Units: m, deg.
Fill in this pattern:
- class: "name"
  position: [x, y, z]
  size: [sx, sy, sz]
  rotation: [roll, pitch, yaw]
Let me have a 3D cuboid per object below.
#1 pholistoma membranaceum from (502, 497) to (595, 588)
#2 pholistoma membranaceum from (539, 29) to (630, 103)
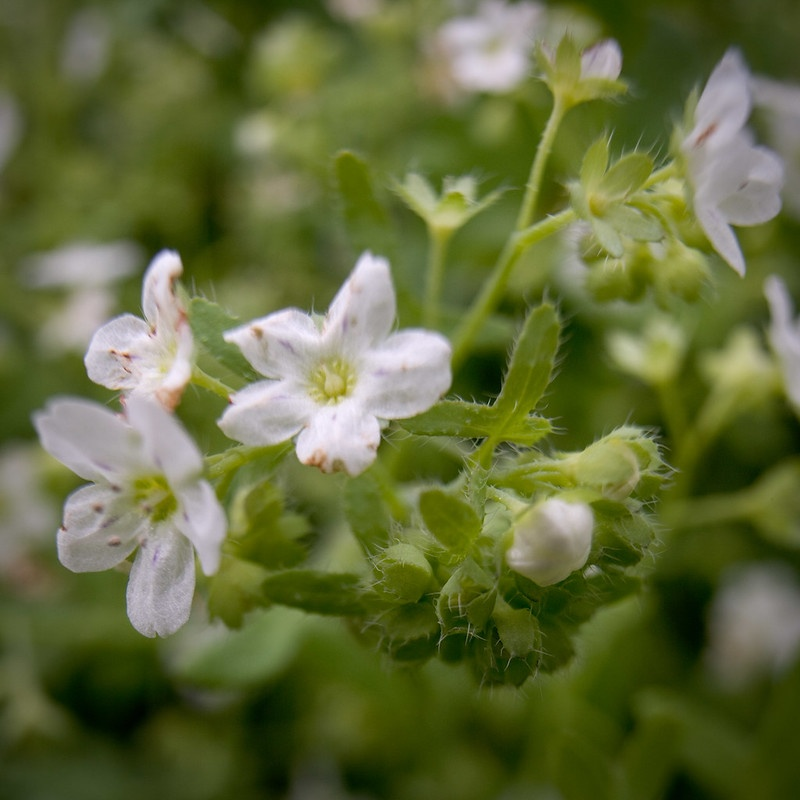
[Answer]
- class: "pholistoma membranaceum"
  position: [0.180, 0.170, 1.228]
  size: [0.061, 0.092, 0.100]
  rotation: [43, 95, 7]
- class: "pholistoma membranaceum"
  position: [0.252, -0.457, 1.417]
  size: [0.115, 0.072, 0.084]
  rotation: [-11, 82, 1]
